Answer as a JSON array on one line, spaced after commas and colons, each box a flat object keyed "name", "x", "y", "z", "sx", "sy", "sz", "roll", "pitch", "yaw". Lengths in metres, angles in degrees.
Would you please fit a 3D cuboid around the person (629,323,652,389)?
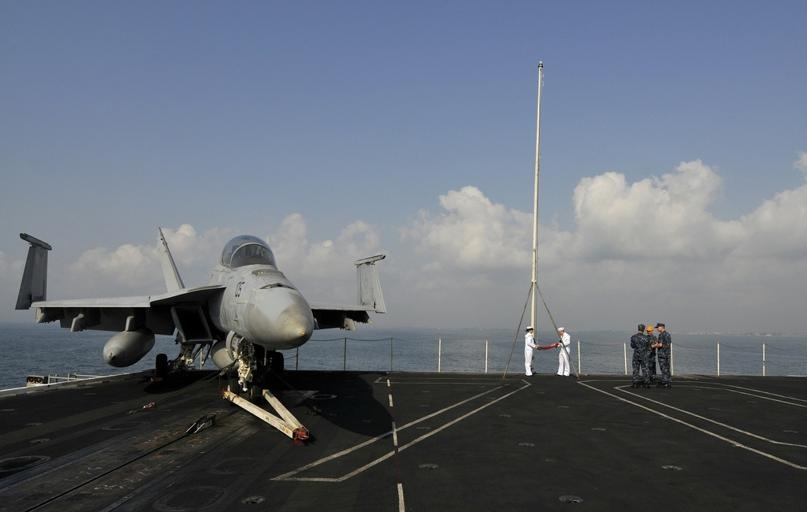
[{"name": "person", "x": 9.414, "y": 3.929, "z": 26.381, "sx": 0.841, "sy": 2.687, "sz": 1.047, "roll": 5, "pitch": 12, "yaw": 21}]
